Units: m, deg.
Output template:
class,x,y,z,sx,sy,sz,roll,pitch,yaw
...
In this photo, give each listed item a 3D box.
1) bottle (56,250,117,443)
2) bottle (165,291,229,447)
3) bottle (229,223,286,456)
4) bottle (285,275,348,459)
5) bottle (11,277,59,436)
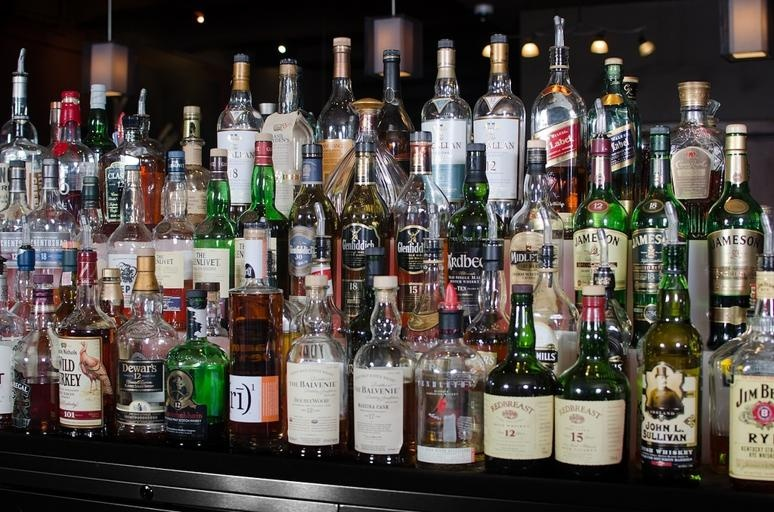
class,x,y,z,sx,sy,sz,roll,pitch,yaw
bottle,-0.619,0.178,1.926,0.110,0.386,0.061,1,-3,-18
bottle,-0.378,0.222,1.850,0.123,0.310,0.063,0,-3,-11
bottle,-0.261,0.157,1.850,0.108,0.447,0.089,0,-3,-8
bottle,-0.133,0.209,1.783,0.112,0.348,0.045,0,-3,-5
bottle,-0.745,0.204,1.964,0.112,0.331,0.041,-1,-3,15
